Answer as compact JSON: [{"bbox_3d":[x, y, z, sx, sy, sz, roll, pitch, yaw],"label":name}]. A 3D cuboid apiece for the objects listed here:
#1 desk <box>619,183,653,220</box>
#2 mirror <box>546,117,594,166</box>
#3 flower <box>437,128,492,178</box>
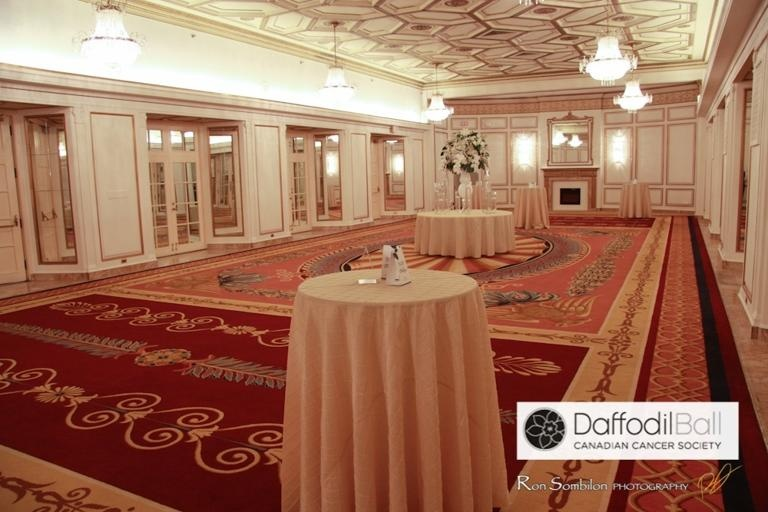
[{"bbox_3d":[8.045,-1.789,15.256,1.356,0.906,0.998,0,9,6],"label":"desk"},{"bbox_3d":[7.008,-4.301,17.483,1.559,1.846,0.436,1,10,13],"label":"mirror"},{"bbox_3d":[1.742,-2.199,10.058,0.961,0.982,1.078,0,8,6],"label":"flower"}]
